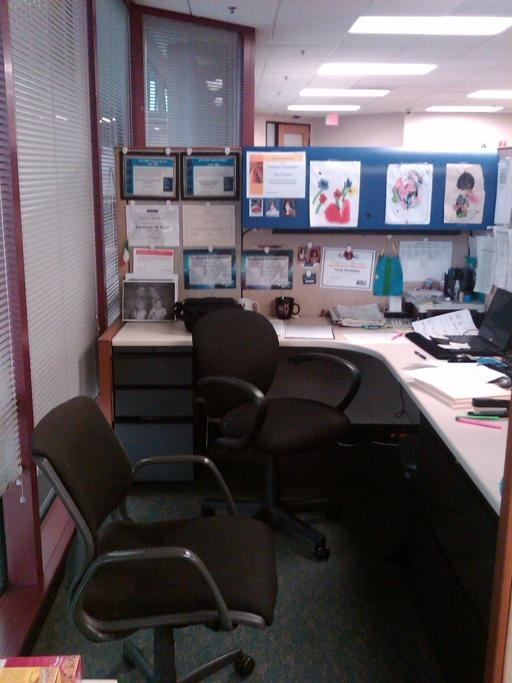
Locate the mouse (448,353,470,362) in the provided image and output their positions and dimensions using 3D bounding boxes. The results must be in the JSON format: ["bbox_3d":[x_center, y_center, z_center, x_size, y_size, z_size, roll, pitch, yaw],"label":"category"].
[{"bbox_3d":[0.829,0.069,2.125,0.086,0.029,0.071,-6,12,-34],"label":"mouse"}]

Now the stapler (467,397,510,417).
[{"bbox_3d":[0.685,0.190,1.534,0.142,0.043,0.089,-1,10,-10],"label":"stapler"}]

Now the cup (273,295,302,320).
[{"bbox_3d":[0.170,-0.177,2.849,0.137,0.122,0.098,0,6,-14],"label":"cup"}]

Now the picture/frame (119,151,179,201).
[{"bbox_3d":[-0.556,-0.862,2.663,0.194,0.202,0.023,0,15,-1],"label":"picture/frame"}]

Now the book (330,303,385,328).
[{"bbox_3d":[0.550,-0.136,2.813,0.157,0.066,0.181,-3,21,-3],"label":"book"}]

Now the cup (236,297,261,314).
[{"bbox_3d":[-0.039,-0.188,2.709,0.100,0.110,0.071,-21,31,-35],"label":"cup"}]
